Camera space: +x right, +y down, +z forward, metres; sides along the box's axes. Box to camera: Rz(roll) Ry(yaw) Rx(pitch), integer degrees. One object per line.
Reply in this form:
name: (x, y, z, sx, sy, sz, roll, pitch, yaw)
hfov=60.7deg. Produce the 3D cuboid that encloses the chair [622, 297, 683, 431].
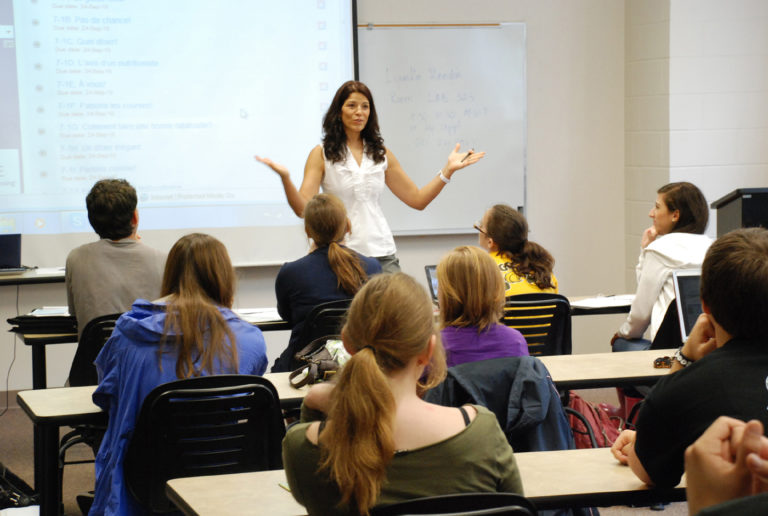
chair: (1.446, 0.495, 3.526, 0.315, 0.514, 0.283, -4, -13, 2)

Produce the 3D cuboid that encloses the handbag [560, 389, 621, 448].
handbag: (0.890, 0.714, 2.795, 0.246, 0.142, 0.306, 0, -2, 4)

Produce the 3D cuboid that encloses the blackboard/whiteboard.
blackboard/whiteboard: (0.412, -1.053, 4.986, 1.555, 2.053, 0.140, -2, 7, -5)

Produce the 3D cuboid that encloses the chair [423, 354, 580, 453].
chair: (0.415, 0.667, 2.312, 0.496, 0.536, 0.320, -7, 37, 10)

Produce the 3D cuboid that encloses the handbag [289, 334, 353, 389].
handbag: (-0.249, 0.420, 2.616, 0.294, 0.156, 0.237, -15, 4, 16)
